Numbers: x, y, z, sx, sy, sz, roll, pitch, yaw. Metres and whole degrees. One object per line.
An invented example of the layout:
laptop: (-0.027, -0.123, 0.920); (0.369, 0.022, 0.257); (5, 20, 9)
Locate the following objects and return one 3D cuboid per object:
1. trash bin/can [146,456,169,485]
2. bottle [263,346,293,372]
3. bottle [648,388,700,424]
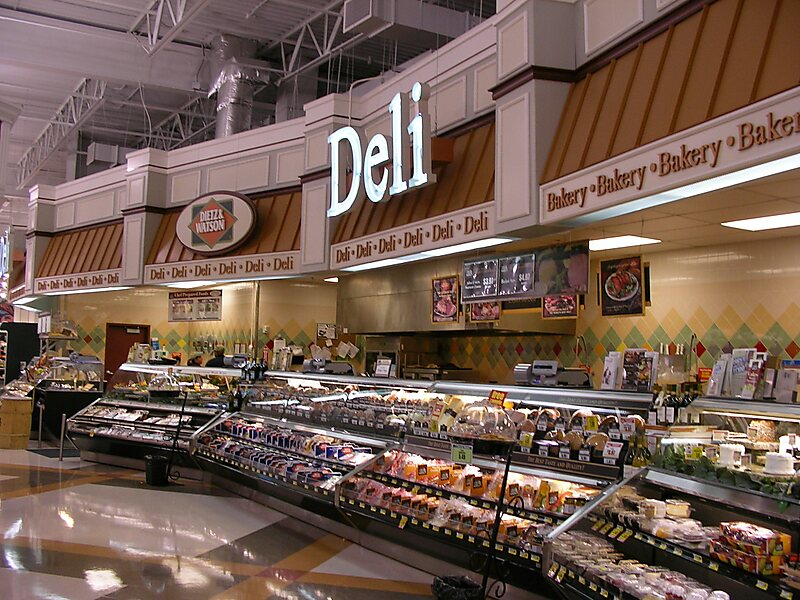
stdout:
trash bin/can: (-3.038, 2.137, 8.251); (0.295, 0.338, 0.310); (1, 1, -6)
bottle: (-1.790, 0.851, 9.570); (0.295, 0.425, 0.999); (2, -6, -26)
bottle: (1.955, 0.757, 4.713); (0.253, 0.283, 0.274); (0, -2, 9)
